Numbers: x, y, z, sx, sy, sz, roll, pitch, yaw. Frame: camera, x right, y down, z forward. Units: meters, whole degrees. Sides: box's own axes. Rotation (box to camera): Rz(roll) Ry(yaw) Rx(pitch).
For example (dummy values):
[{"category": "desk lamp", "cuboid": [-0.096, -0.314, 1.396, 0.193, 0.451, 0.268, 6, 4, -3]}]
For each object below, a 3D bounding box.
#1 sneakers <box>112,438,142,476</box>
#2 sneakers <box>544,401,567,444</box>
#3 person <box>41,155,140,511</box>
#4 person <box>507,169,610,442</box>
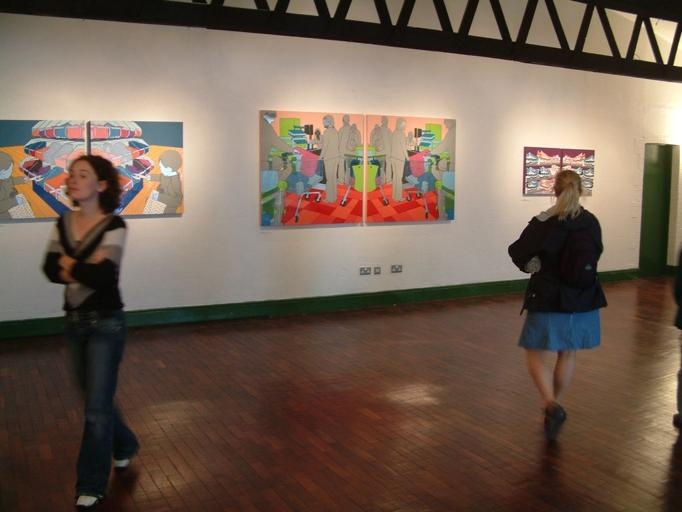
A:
[{"category": "sneakers", "cuboid": [-1.477, 1.386, 3.329, 0.118, 0.154, 0.348, 2, 3, -2]}, {"category": "sneakers", "cuboid": [1.668, 1.297, 3.718, 0.118, 0.342, 0.140, 6, -18, 15]}, {"category": "person", "cuboid": [-1.511, 0.451, 2.864, 0.459, 2.097, 0.486, -3, 6, -25]}, {"category": "person", "cuboid": [1.704, 0.370, 3.732, 0.657, 2.070, 0.502, -3, 6, -24]}]
